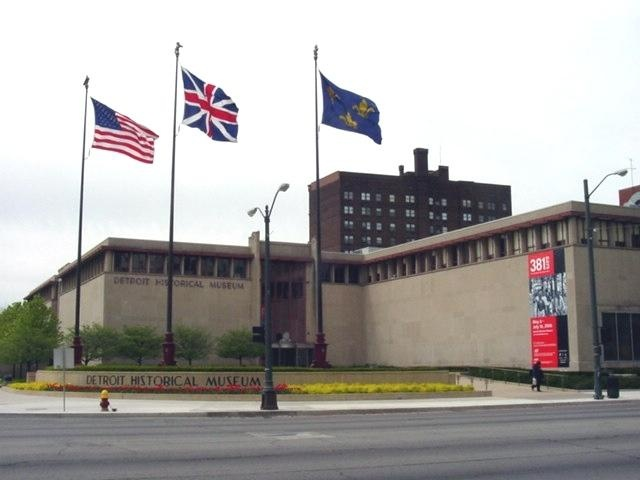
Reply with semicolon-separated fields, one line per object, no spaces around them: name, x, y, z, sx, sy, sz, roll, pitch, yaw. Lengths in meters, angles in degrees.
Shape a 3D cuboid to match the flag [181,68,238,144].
flag;-6.455;-7.934;49.857;3.158;0.616;4.426;5;-56;-2
